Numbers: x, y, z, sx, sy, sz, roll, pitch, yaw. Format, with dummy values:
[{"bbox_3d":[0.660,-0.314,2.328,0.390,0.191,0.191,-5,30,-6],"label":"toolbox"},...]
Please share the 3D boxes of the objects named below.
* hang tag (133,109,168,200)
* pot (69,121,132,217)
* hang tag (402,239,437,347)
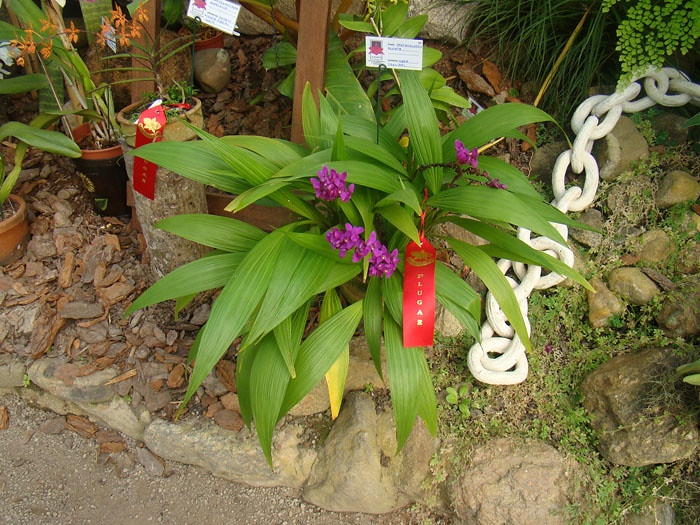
[{"bbox_3d":[-0.947,-0.480,2.404,0.291,0.094,0.358,-6,84,25],"label":"hang tag"},{"bbox_3d":[-1.385,-0.528,2.954,0.280,0.320,0.301,3,46,-3],"label":"pot"},{"bbox_3d":[0.271,0.120,2.065,0.120,0.517,0.042,0,25,6],"label":"hang tag"}]
